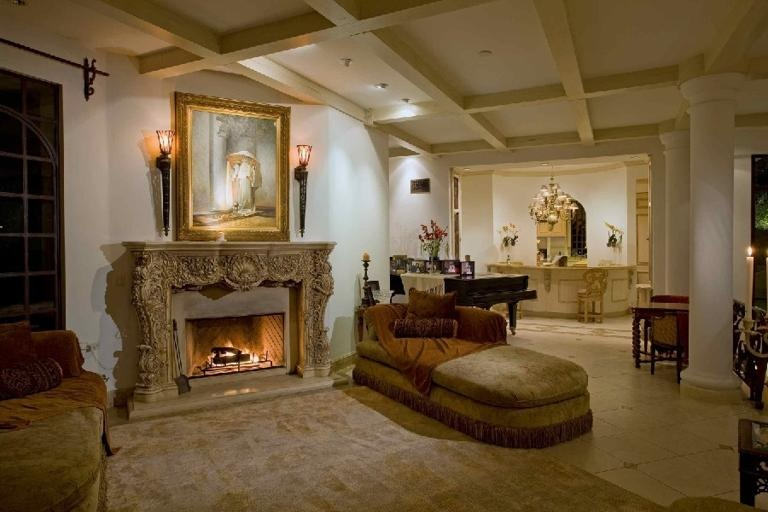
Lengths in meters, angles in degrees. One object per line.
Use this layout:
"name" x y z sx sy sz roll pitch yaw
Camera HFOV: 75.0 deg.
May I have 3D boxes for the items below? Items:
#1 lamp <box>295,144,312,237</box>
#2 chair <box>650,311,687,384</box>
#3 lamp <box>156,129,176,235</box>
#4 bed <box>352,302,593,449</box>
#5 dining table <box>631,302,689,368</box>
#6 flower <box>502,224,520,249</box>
"lamp" -1.162 -0.928 7.158 0.245 1.307 0.205 -3 14 -9
"chair" 4.060 1.216 7.113 0.476 0.975 0.900 7 15 28
"lamp" -2.766 -0.926 6.371 0.242 1.320 0.253 -6 15 -22
"bed" 0.894 1.252 6.090 1.387 0.921 2.436 0 -2 -32
"dining table" 4.073 1.081 7.386 0.942 0.998 1.082 -4 -6 36
"flower" 3.404 -0.570 13.501 0.593 0.615 0.626 0 -5 28
